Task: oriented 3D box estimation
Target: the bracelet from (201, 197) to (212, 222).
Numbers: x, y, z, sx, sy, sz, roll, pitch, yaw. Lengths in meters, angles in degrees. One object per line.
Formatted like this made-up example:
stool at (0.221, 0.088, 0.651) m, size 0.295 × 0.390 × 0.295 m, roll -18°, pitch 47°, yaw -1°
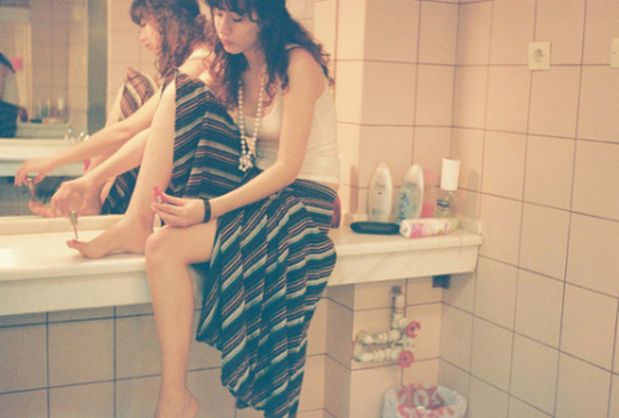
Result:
bracelet at (-0.356, 0.008, 1.823) m, size 0.031 × 0.079 × 0.018 m, roll 0°, pitch 12°, yaw -14°

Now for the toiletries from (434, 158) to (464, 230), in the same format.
toiletries at (0.612, -0.083, 2.385) m, size 0.106 × 0.355 × 0.105 m, roll -4°, pitch 28°, yaw -9°

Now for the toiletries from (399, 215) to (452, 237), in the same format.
toiletries at (0.506, 0.063, 2.275) m, size 0.181 × 0.055 × 0.092 m, roll -2°, pitch 10°, yaw -27°

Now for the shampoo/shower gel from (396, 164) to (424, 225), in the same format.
shampoo/shower gel at (0.445, -0.061, 2.317) m, size 0.092 × 0.279 × 0.097 m, roll -6°, pitch 26°, yaw -17°

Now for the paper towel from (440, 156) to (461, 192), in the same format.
paper towel at (0.631, -0.158, 2.364) m, size 0.080 × 0.134 × 0.083 m, roll 1°, pitch -8°, yaw 20°

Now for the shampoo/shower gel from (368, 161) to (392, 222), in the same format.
shampoo/shower gel at (0.303, -0.078, 2.344) m, size 0.081 × 0.269 × 0.096 m, roll -4°, pitch 14°, yaw -26°

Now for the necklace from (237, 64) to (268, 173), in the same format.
necklace at (-0.222, -0.330, 1.972) m, size 0.105 × 0.407 × 0.042 m, roll 1°, pitch -6°, yaw -5°
